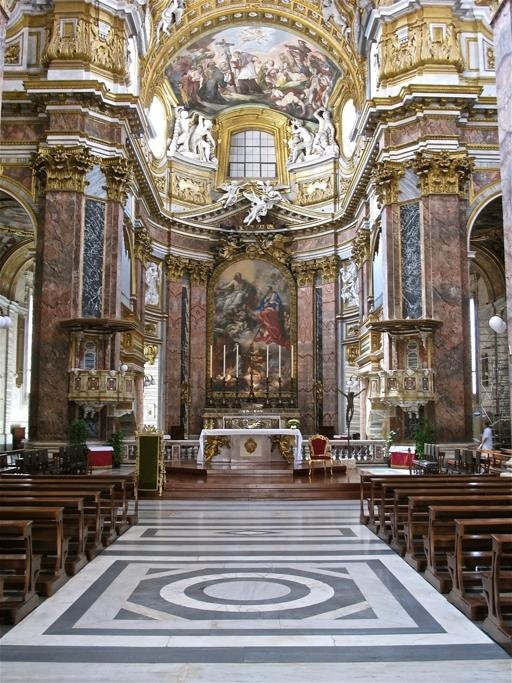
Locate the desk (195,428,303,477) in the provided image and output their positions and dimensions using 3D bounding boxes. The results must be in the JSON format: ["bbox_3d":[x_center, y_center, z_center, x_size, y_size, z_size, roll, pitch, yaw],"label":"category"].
[{"bbox_3d":[-0.142,2.643,19.425,2.589,0.881,1.637,0,-4,0],"label":"desk"}]

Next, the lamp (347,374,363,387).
[{"bbox_3d":[3.469,1.443,27.680,0.420,0.099,0.410,-4,-45,10],"label":"lamp"}]

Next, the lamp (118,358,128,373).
[{"bbox_3d":[-3.362,0.617,19.477,0.383,0.379,0.363,-1,1,-5],"label":"lamp"}]
